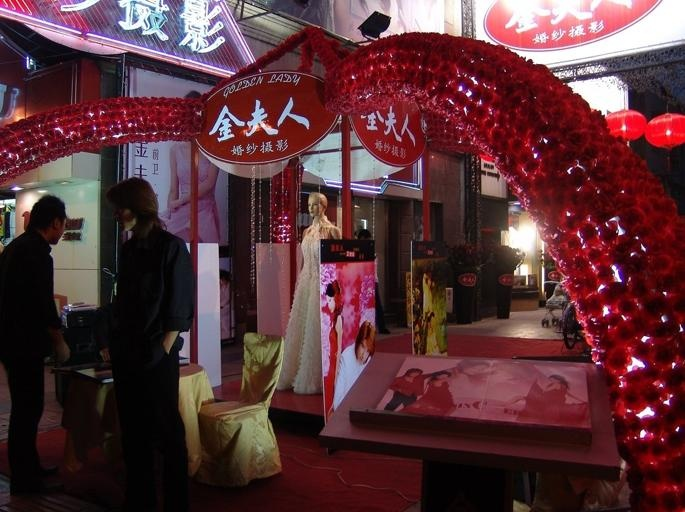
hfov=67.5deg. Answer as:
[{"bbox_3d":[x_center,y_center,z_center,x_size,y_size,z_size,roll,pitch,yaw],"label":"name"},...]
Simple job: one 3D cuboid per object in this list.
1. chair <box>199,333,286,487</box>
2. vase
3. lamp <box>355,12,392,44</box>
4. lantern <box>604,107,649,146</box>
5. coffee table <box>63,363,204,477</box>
[{"bbox_3d":[-0.731,1.036,3.609,0.582,0.904,0.558,1,-3,28],"label":"chair"},{"bbox_3d":[2.938,0.822,11.044,1.299,1.104,1.099,-2,2,-28],"label":"vase"},{"bbox_3d":[0.487,-3.576,8.013,0.442,0.491,0.832,0,2,2],"label":"lamp"},{"bbox_3d":[3.737,-1.743,6.813,0.658,0.464,0.385,-1,3,-38],"label":"lantern"},{"bbox_3d":[-1.300,1.159,3.521,0.848,0.552,0.860,-26,-34,24],"label":"coffee table"}]
